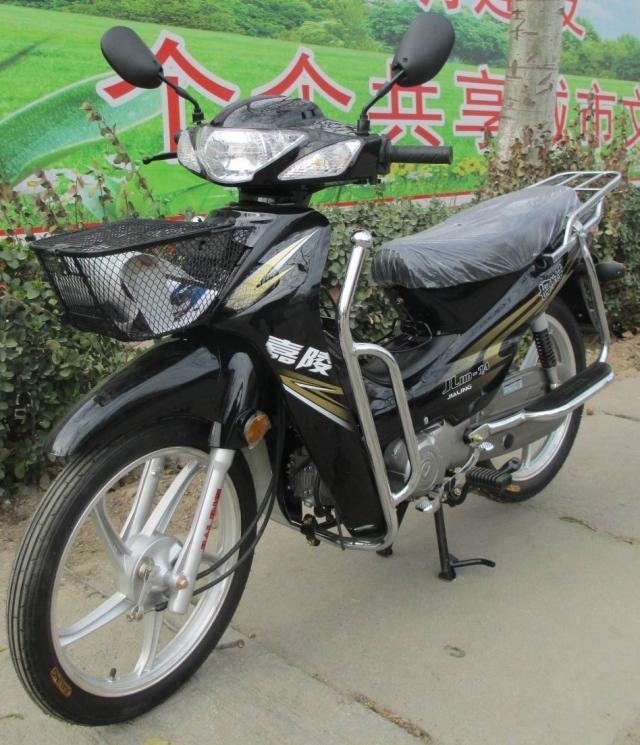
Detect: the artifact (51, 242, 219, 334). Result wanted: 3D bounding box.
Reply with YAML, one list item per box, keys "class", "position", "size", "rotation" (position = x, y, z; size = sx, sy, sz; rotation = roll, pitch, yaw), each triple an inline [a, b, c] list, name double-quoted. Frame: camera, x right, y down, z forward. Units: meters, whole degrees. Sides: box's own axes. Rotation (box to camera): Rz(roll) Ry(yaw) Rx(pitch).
- class: "artifact"
  position: [-0.402, -0.177, 1.385]
  size: [0.171, 0.077, 0.230]
  rotation: [-14, 29, -36]

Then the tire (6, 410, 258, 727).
- class: "tire"
  position: [-0.448, 0.522, 1.683]
  size: [0.240, 0.718, 0.687]
  rotation: [20, 82, 42]

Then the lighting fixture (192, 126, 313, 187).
- class: "lighting fixture"
  position: [-0.185, -0.513, 1.585]
  size: [0.199, 0.082, 0.180]
  rotation: [5, 22, 24]
